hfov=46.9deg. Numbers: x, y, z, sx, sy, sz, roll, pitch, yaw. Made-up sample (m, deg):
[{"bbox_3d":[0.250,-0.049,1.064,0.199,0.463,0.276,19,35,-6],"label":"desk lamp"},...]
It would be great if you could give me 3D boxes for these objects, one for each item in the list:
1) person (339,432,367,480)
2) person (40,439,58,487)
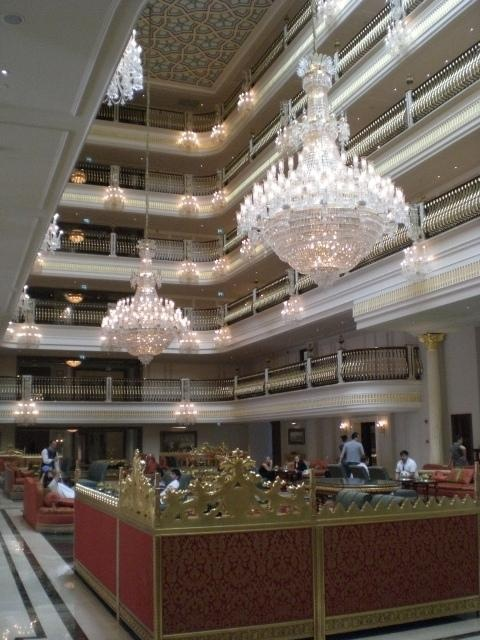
[{"bbox_3d":[2.496,3.182,12.410,0.493,1.399,0.438,1,9,10],"label":"person"},{"bbox_3d":[-4.476,3.431,13.087,0.427,1.196,0.414,-6,16,-44],"label":"person"}]
